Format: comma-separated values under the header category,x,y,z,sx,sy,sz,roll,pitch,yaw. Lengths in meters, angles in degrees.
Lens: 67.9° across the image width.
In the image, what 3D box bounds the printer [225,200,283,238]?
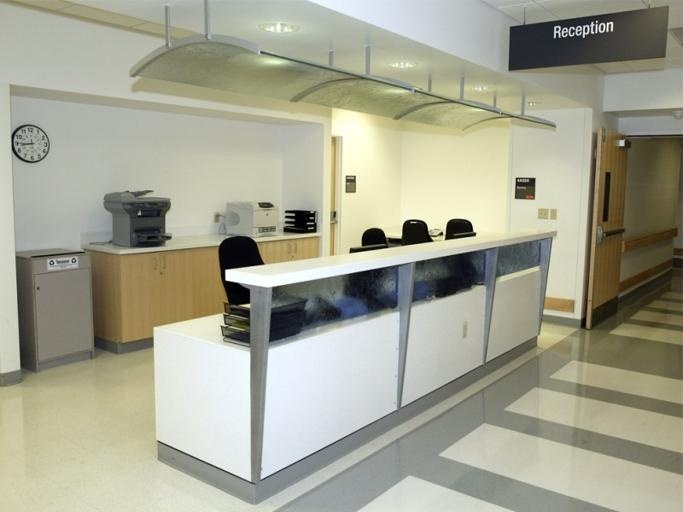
category,x,y,z,sx,sy,sz,roll,pitch,yaw
printer,-1.364,-0.547,7.592,0.598,0.477,0.577,2,5,42

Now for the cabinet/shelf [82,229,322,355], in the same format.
category,x,y,z,sx,sy,sz,roll,pitch,yaw
cabinet/shelf,-2.312,0.483,6.407,1.474,1.290,0.538,-5,11,-32

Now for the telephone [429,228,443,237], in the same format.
category,x,y,z,sx,sy,sz,roll,pitch,yaw
telephone,1.738,-0.424,9.352,0.190,0.063,0.189,-34,28,-21

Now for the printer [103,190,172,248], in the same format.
category,x,y,z,sx,sy,sz,roll,pitch,yaw
printer,-2.438,-0.490,6.336,0.754,0.758,0.641,8,9,40

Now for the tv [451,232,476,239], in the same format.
category,x,y,z,sx,sy,sz,roll,pitch,yaw
tv,1.569,-0.263,6.397,0.192,0.047,0.181,1,13,24
